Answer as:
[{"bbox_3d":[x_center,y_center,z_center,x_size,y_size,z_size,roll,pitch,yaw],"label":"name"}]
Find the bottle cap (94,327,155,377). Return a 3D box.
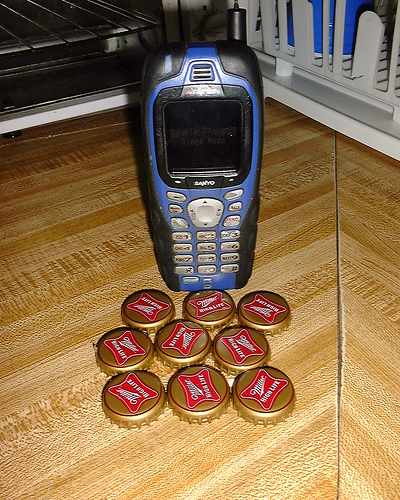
[{"bbox_3d":[-0.065,0.082,0.341,0.052,0.020,0.044,17,34,33],"label":"bottle cap"}]

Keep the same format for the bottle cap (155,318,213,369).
[{"bbox_3d":[-0.015,0.076,0.347,0.049,0.012,0.052,25,36,26],"label":"bottle cap"}]

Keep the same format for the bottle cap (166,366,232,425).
[{"bbox_3d":[-0.001,0.104,0.307,0.053,0.011,0.049,2,32,4],"label":"bottle cap"}]

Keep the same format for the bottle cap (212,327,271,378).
[{"bbox_3d":[0.033,0.079,0.339,0.049,0.011,0.044,-4,47,-3],"label":"bottle cap"}]

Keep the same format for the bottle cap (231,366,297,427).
[{"bbox_3d":[0.046,0.103,0.303,0.050,0.011,0.048,-6,33,-12],"label":"bottle cap"}]
